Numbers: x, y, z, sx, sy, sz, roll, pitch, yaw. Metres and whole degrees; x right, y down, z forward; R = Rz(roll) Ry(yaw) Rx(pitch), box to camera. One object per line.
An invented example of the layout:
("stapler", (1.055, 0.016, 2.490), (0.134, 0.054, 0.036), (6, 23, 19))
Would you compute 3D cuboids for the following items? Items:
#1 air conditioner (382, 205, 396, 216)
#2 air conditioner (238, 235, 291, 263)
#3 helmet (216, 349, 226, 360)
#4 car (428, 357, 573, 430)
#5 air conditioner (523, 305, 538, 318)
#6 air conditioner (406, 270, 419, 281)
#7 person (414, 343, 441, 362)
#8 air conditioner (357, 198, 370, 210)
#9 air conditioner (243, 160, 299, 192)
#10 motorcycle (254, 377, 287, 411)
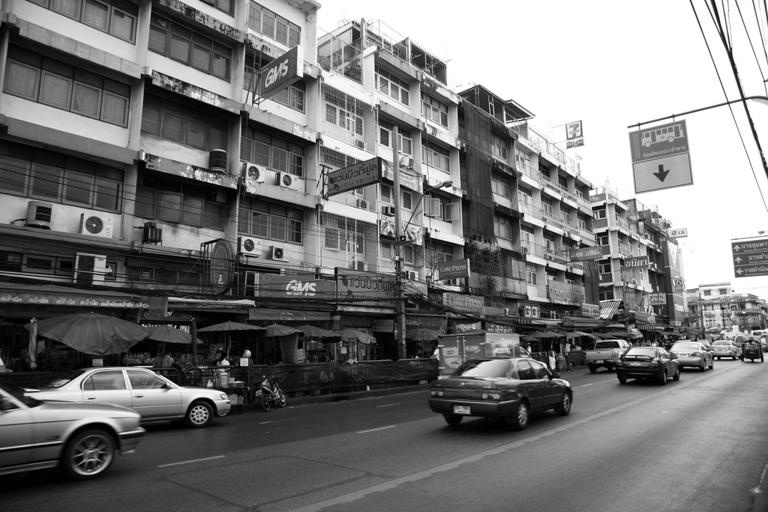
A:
("air conditioner", (0.261, -2.733, 40.011), (0.499, 0.674, 0.974), (-1, -2, 33))
("air conditioner", (-6.132, -0.365, 33.314), (0.989, 1.253, 3.621), (1, 2, 27))
("helmet", (-7.700, 4.684, 31.468), (0.407, 0.586, 0.470), (-2, 14, -5))
("car", (4.028, 4.545, 22.638), (4.792, 2.163, 2.019), (-1, 3, -31))
("air conditioner", (11.157, 4.228, 50.269), (0.667, 0.936, 2.545), (1, 2, 27))
("air conditioner", (1.856, 1.215, 41.295), (0.532, 0.667, 0.967), (-7, -11, 34))
("person", (2.800, 5.966, 41.652), (1.484, 1.037, 1.593), (-5, -9, 14))
("air conditioner", (-1.246, -3.055, 39.212), (0.428, 0.561, 1.115), (1, 2, 23))
("air conditioner", (-5.902, -4.115, 34.483), (0.936, 1.247, 4.330), (1, 2, 27))
("motorcycle", (-4.766, 5.517, 27.343), (1.744, 1.201, 0.661), (9, 25, 41))
